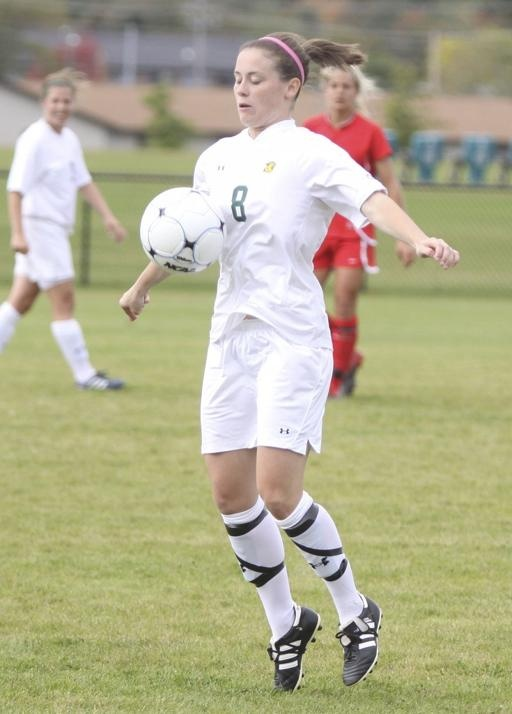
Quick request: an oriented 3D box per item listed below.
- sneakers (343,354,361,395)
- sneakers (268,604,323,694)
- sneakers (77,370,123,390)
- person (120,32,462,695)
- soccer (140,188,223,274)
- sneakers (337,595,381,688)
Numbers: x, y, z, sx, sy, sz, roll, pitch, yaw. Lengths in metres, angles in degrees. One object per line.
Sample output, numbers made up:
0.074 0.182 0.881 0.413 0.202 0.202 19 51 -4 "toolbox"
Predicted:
0.588 0.093 6.822 0.096 0.229 0.194 23 0 8 "sneakers"
0.109 0.800 3.020 0.123 0.230 0.085 20 -13 -19 "sneakers"
-0.711 0.111 5.045 0.095 0.095 0.273 6 -13 -44 "sneakers"
0.096 -0.015 3.004 0.445 1.775 0.697 -4 13 -25 "person"
-0.201 -0.357 3.031 0.183 0.239 0.249 -6 14 -35 "soccer"
0.308 0.791 3.043 0.109 0.087 0.226 30 42 -19 "sneakers"
